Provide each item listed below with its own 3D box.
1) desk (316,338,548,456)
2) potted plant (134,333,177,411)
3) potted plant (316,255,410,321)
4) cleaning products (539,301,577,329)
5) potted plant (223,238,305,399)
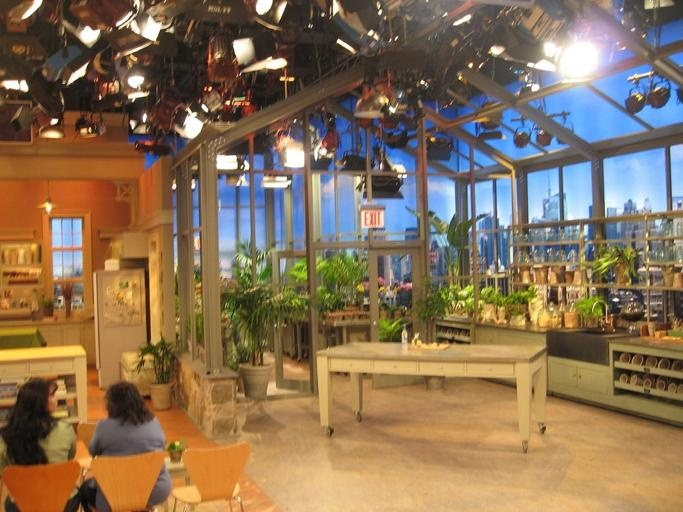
[{"bbox_3d":[1.207,1.716,7.794,2.833,1.157,1.314,0,3,17],"label":"desk"},{"bbox_3d":[-2.948,1.863,9.554,0.747,1.125,0.683,-11,-14,24],"label":"potted plant"},{"bbox_3d":[0.137,0.544,10.450,0.940,0.826,1.014,0,-10,-10],"label":"potted plant"},{"bbox_3d":[3.570,0.983,9.706,0.291,0.408,0.505,3,-5,-44],"label":"cleaning products"},{"bbox_3d":[-1.365,1.043,9.729,1.422,2.446,1.431,7,-3,-10],"label":"potted plant"}]
